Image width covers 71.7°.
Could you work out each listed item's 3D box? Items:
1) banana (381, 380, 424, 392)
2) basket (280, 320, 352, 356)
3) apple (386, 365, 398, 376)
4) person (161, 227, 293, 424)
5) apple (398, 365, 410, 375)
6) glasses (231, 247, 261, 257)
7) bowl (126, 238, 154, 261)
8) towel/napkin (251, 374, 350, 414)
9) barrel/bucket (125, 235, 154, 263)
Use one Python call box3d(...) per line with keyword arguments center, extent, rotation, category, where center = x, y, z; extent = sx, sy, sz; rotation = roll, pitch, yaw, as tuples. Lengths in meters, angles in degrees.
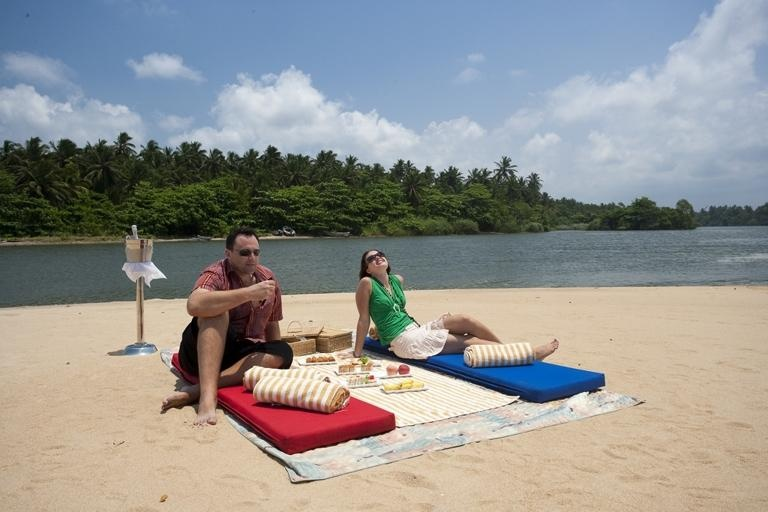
box3d(center=(0.231, 1.643, 6.713), extent=(0.562, 0.113, 0.214), rotation=(-2, 1, -1), category="banana")
box3d(center=(-1.059, 1.335, 8.521), extent=(0.829, 0.196, 0.799), rotation=(-1, 2, -28), category="basket")
box3d(center=(0.102, 1.543, 7.141), extent=(0.125, 0.106, 0.122), rotation=(-2, -1, -30), category="apple")
box3d(center=(-1.900, 0.769, 6.400), extent=(1.402, 2.208, 1.003), rotation=(-3, 2, -20), category="person")
box3d(center=(0.266, 1.536, 7.180), extent=(0.126, 0.113, 0.124), rotation=(14, 17, 29), category="apple")
box3d(center=(-1.643, -0.041, 6.420), extent=(0.269, 0.102, 0.135), rotation=(-3, 2, -28), category="glasses")
box3d(center=(-4.232, -0.095, 9.103), extent=(0.415, 0.299, 0.429), rotation=(0, 0, 0), category="bowl")
box3d(center=(-0.909, 1.461, 5.806), extent=(0.756, 0.220, 0.440), rotation=(2, -2, 14), category="towel/napkin")
box3d(center=(-4.234, -0.106, 9.084), extent=(0.456, 0.364, 0.451), rotation=(0, -1, 0), category="barrel/bucket")
